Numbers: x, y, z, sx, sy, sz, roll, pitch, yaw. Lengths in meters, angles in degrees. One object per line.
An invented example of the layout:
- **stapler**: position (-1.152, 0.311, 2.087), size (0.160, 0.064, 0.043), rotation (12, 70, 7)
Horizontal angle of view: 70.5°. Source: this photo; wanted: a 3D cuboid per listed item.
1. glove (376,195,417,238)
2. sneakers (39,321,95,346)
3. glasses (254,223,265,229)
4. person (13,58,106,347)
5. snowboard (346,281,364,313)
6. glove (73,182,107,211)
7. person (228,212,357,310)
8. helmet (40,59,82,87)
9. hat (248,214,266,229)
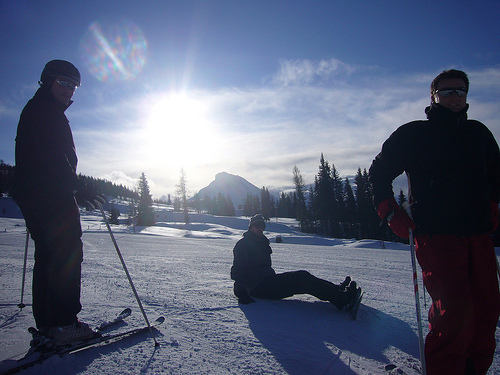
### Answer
- **glove**: position (1.593, 0.342, 3.954), size (0.280, 0.493, 0.153), rotation (-29, -10, -12)
- **sneakers**: position (-2.060, 1.606, 3.985), size (0.539, 0.265, 0.184), rotation (4, -7, -35)
- **glasses**: position (0.188, 0.676, 6.266), size (0.110, 0.066, 0.115), rotation (6, 0, -18)
- **person**: position (-2.282, 0.092, 4.111), size (0.809, 3.309, 0.505), rotation (-1, -2, -17)
- **snowboard**: position (1.552, 1.650, 5.364), size (0.181, 0.241, 0.600), rotation (-40, 0, 16)
- **glove**: position (-1.966, 0.103, 4.321), size (0.318, 0.364, 0.110), rotation (7, 29, 11)
- **person**: position (0.781, 1.298, 6.080), size (2.153, 1.672, 1.193), rotation (0, -12, 13)
- **helmet**: position (-2.416, -1.399, 4.452), size (0.458, 0.385, 0.350), rotation (-1, 0, -39)
- **hat**: position (0.121, 0.631, 6.414), size (0.203, 0.246, 0.286), rotation (14, -30, -29)
